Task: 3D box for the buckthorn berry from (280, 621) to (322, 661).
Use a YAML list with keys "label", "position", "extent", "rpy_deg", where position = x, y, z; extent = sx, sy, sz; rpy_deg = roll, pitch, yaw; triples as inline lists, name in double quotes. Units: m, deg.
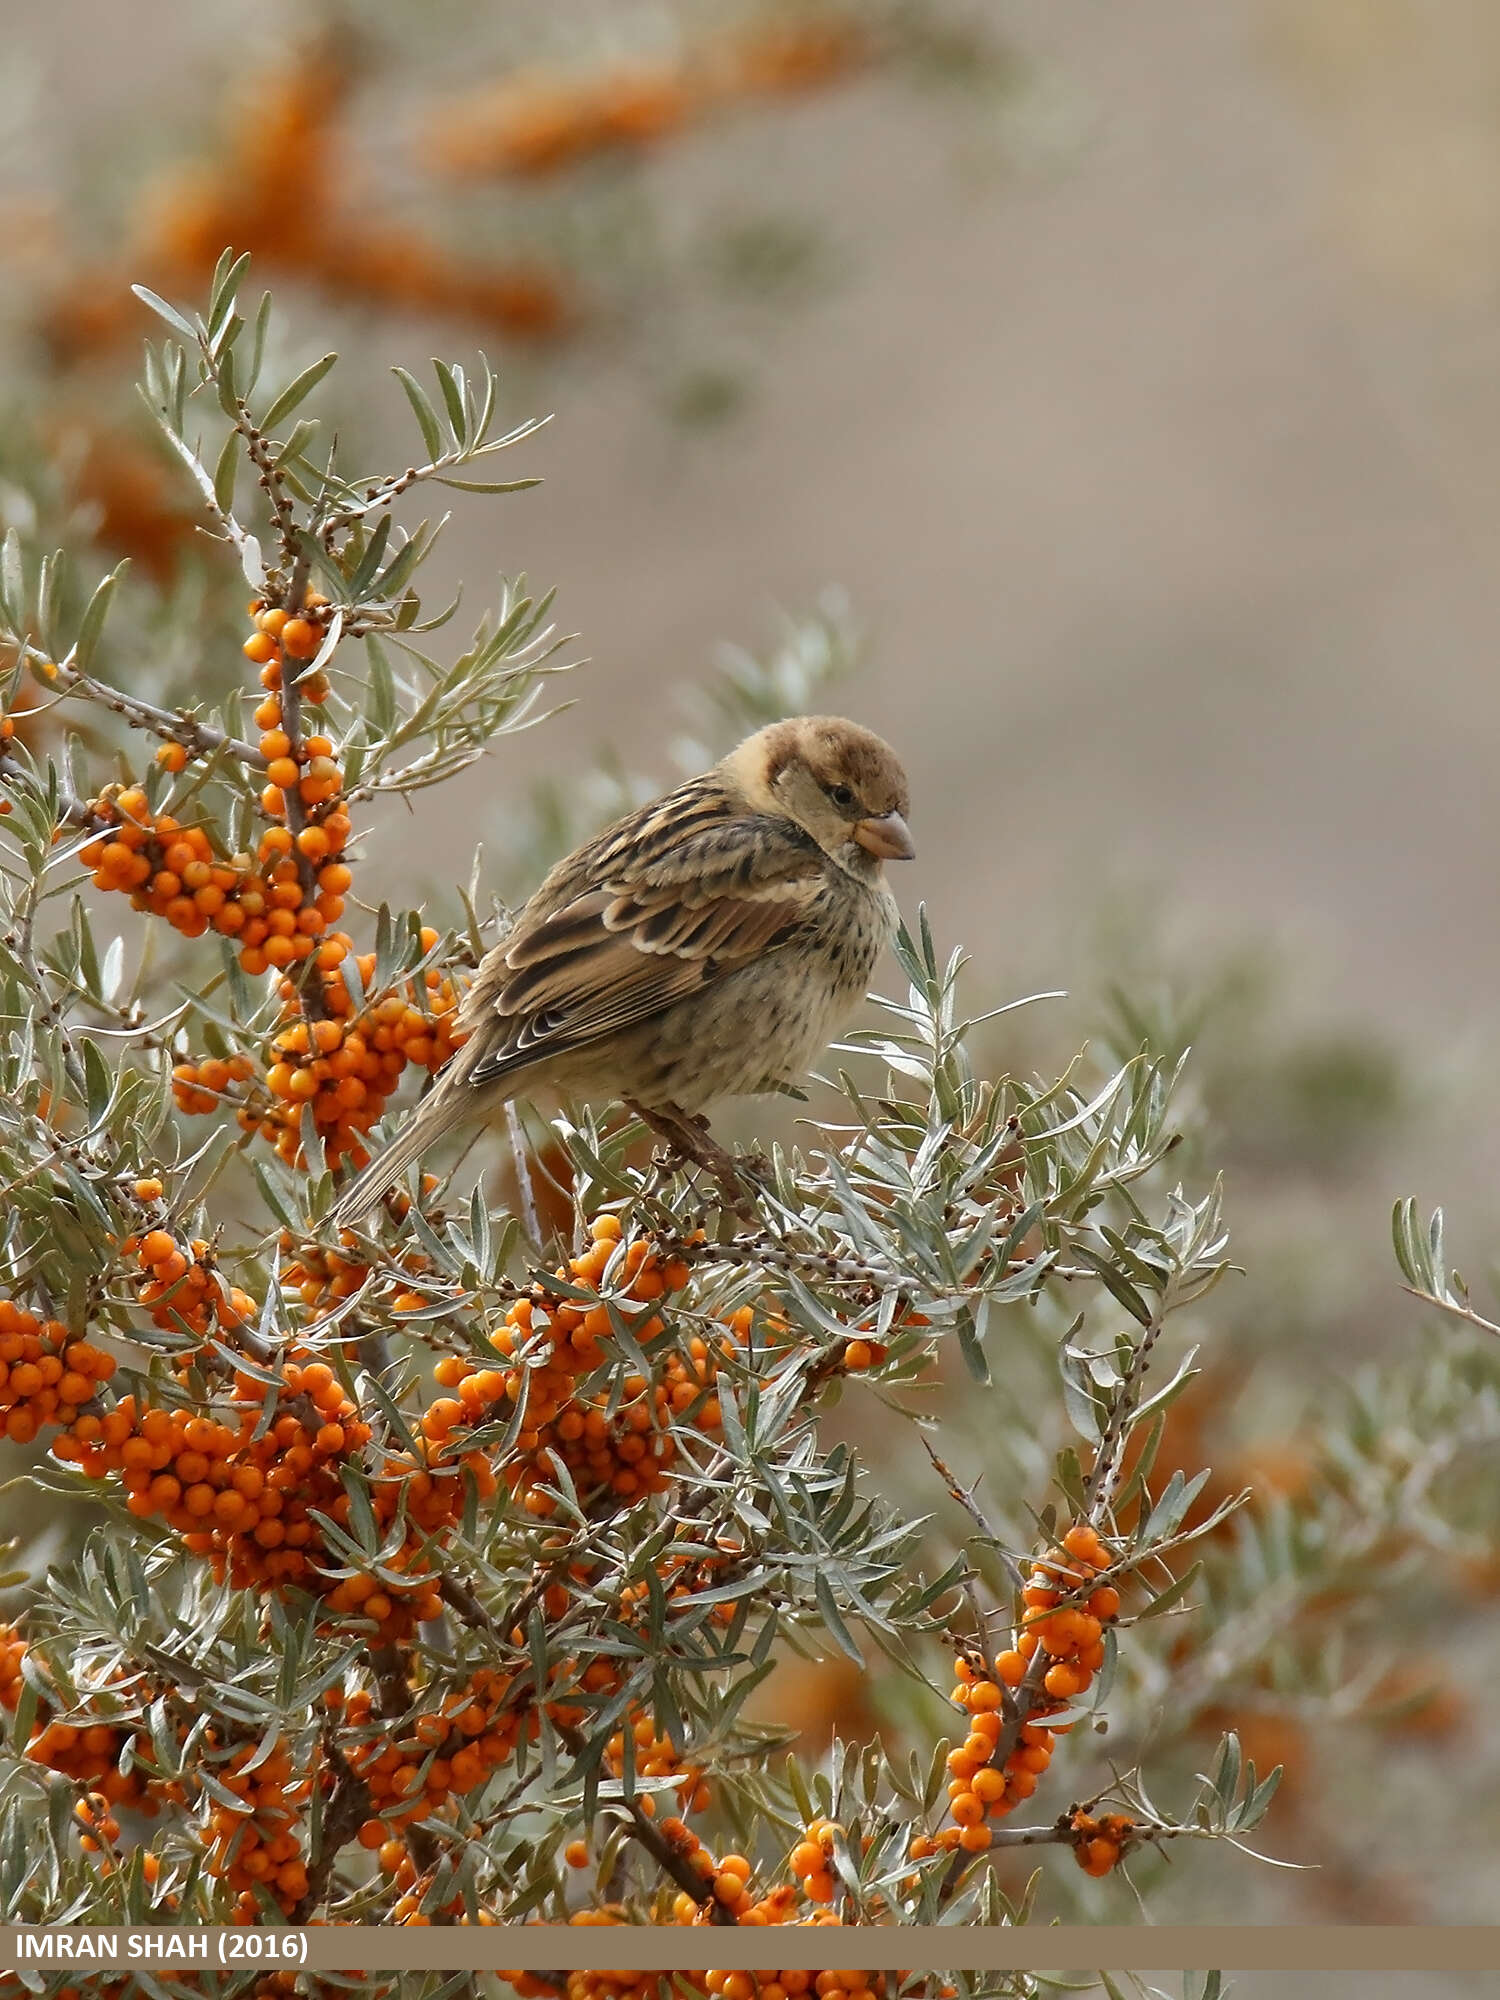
- label: "buckthorn berry"
  position: [-0.388, -0.315, 2.278]
  extent: [0.039, 0.038, 0.036]
  rpy_deg: [2, 2, 3]
